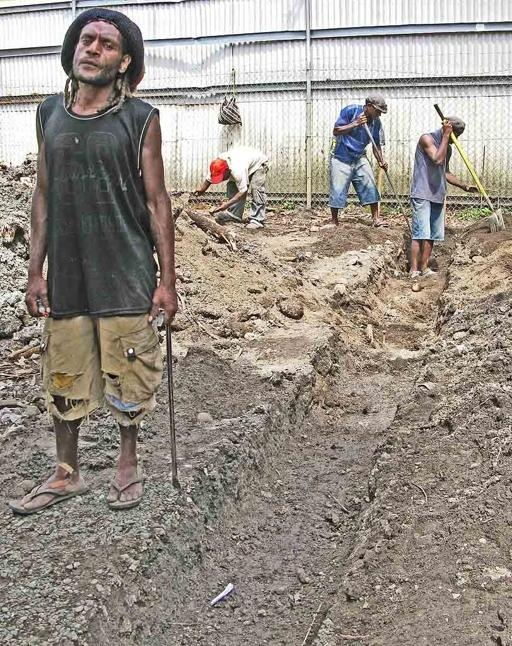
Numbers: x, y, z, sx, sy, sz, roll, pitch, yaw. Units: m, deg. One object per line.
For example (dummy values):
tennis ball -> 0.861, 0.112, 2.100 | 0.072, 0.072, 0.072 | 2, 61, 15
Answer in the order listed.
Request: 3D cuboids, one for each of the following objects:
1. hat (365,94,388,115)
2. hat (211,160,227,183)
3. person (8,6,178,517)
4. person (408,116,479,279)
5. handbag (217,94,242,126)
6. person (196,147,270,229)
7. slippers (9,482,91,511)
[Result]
hat -> 1.315, -2.422, 9.035 | 0.245, 0.142, 0.195 | 37, 59, 15
hat -> -0.418, -1.726, 9.241 | 0.197, 0.282, 0.304 | 3, 15, -4
person -> -0.613, -0.235, 3.272 | 0.591, 1.940, 0.349 | 2, 13, -7
person -> 1.875, -1.272, 8.499 | 0.509, 1.720, 1.139 | 8, 15, 16
handbag -> -0.409, -3.266, 12.565 | 0.377, 0.453, 0.330 | 6, 14, 6
person -> -0.230, -1.580, 9.677 | 0.645, 0.976, 1.111 | 5, 15, 4
slippers -> -0.876, 0.666, 3.379 | 0.256, 0.081, 0.103 | -14, 18, -35
